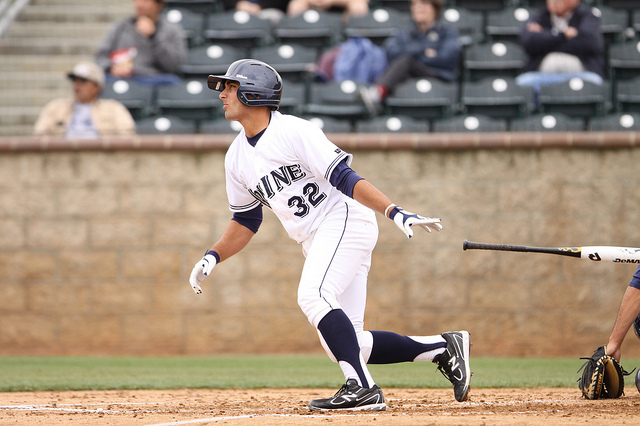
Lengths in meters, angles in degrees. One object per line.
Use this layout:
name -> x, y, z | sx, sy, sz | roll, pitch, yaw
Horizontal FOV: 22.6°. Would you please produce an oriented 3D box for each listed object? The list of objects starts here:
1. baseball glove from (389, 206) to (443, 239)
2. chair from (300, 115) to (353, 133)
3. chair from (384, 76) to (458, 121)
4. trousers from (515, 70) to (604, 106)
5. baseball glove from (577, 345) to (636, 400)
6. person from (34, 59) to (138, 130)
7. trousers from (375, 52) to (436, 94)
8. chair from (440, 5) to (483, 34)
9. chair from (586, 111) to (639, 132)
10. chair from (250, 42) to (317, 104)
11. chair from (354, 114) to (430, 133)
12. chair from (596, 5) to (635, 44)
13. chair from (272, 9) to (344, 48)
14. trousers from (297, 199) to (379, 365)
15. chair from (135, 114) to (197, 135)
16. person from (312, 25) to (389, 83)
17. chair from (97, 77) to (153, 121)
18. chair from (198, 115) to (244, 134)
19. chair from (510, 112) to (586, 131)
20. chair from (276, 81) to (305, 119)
baseball glove -> 0.877, 0.092, 14.912 | 0.478, 0.165, 0.252 | 21, 47, 21
chair -> 0.080, -1.006, 18.161 | 0.579, 0.216, 0.376 | -2, 4, 0
chair -> 1.191, -1.284, 18.008 | 0.675, 0.372, 0.549 | -1, 0, 2
trousers -> 2.570, -1.458, 18.479 | 0.858, 0.270, 0.973 | 2, 4, -36
baseball glove -> 2.787, 1.525, 15.472 | 0.224, 0.510, 0.432 | -2, -16, -35
person -> -2.679, -1.216, 17.859 | 1.215, 0.807, 0.610 | -2, 8, 6
trousers -> 0.956, -1.599, 18.284 | 0.533, 0.201, 0.497 | 11, 51, 15
chair -> 1.687, -2.283, 19.047 | 0.551, 0.342, 0.379 | -3, 4, -6
chair -> 3.304, -1.023, 17.945 | 0.693, 0.204, 0.337 | -3, 4, -17
chair -> -0.395, -1.653, 19.021 | 0.771, 0.910, 0.770 | -1, -8, 1
chair -> 0.813, -1.001, 18.109 | 0.845, 0.206, 0.341 | -2, 4, 0
chair -> 3.538, -2.193, 18.893 | 0.494, 0.423, 0.464 | 0, -7, 2
chair -> -0.125, -2.188, 19.203 | 0.625, 0.343, 0.206 | 0, -2, 5
trousers -> 0.178, 0.666, 15.193 | 0.798, 1.561, 0.388 | -3, 4, -5
chair -> -1.743, -0.990, 18.124 | 0.704, 0.216, 0.361 | -3, 4, -10
person -> 0.333, -1.761, 18.585 | 0.843, 0.605, 0.288 | -17, -46, 15
chair -> -2.200, -1.308, 18.349 | 0.746, 0.644, 0.471 | 1, -12, -5
chair -> -1.151, -0.998, 18.225 | 0.499, 0.188, 0.349 | -2, 4, -1
chair -> 2.559, -1.010, 17.950 | 0.840, 0.197, 0.224 | -2, 4, 8
chair -> -0.329, -1.310, 18.509 | 0.300, 0.419, 0.430 | -3, 4, -1
